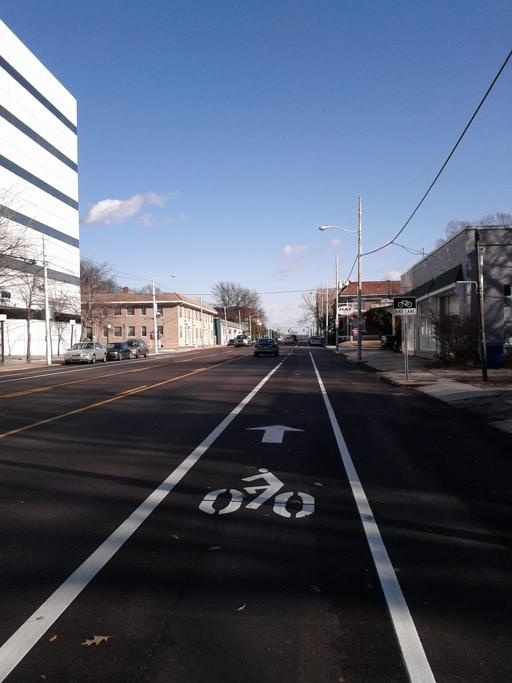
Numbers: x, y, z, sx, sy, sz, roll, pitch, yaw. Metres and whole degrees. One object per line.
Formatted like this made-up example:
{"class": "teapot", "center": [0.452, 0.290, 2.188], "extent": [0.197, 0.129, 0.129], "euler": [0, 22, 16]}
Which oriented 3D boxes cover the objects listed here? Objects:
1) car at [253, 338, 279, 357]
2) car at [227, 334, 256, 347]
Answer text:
{"class": "car", "center": [0.895, 0.528, 42.537], "extent": [1.805, 1.525, 2.265], "euler": [0, -1, 8]}
{"class": "car", "center": [-1.945, 0.033, 77.743], "extent": [1.885, 1.588, 4.577], "euler": [0, 2, 12]}
